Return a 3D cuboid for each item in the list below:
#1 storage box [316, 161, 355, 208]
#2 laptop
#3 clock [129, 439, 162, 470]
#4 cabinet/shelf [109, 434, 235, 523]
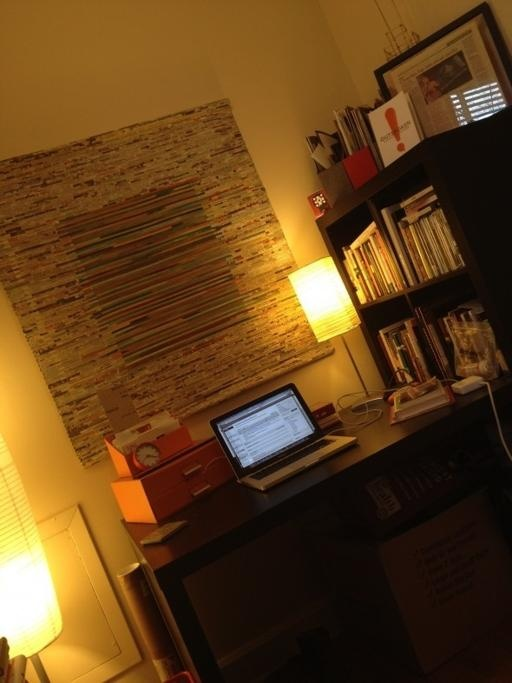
[{"bbox_3d":[0.322,-0.672,2.261,0.130,0.086,0.066,-18,30,11],"label":"storage box"},{"bbox_3d":[0.079,0.285,1.728,0.378,0.192,0.288,-23,6,-34],"label":"laptop"},{"bbox_3d":[-0.325,0.356,1.742,0.083,0.076,0.018,1,-22,-32],"label":"clock"},{"bbox_3d":[-0.247,0.443,1.806,0.200,0.127,0.306,-19,2,44],"label":"cabinet/shelf"}]
